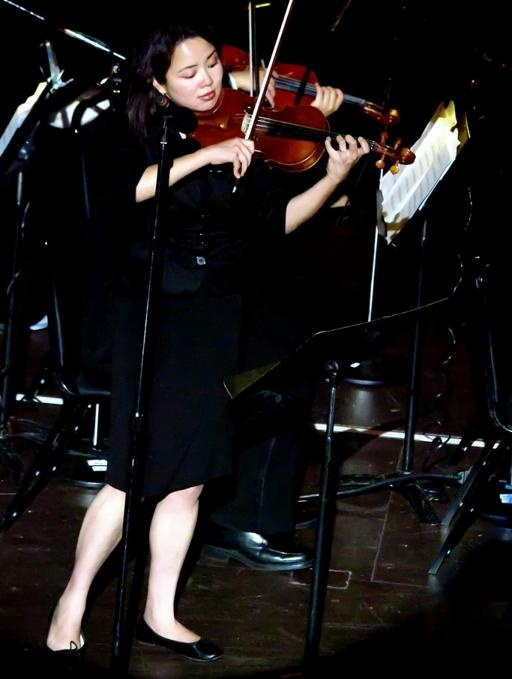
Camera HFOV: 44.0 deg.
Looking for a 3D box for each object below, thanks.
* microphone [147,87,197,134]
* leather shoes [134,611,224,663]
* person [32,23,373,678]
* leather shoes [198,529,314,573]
[{"bbox_3d":[-0.129,-0.363,1.019,0.070,0.061,0.104,8,11,-9],"label":"microphone"},{"bbox_3d":[-0.140,0.606,1.316,0.197,0.060,0.064,11,-3,3],"label":"leather shoes"},{"bbox_3d":[-0.132,0.050,1.290,0.469,1.289,0.561,13,12,5],"label":"person"},{"bbox_3d":[0.005,0.569,1.797,0.336,0.121,0.106,0,8,16],"label":"leather shoes"}]
